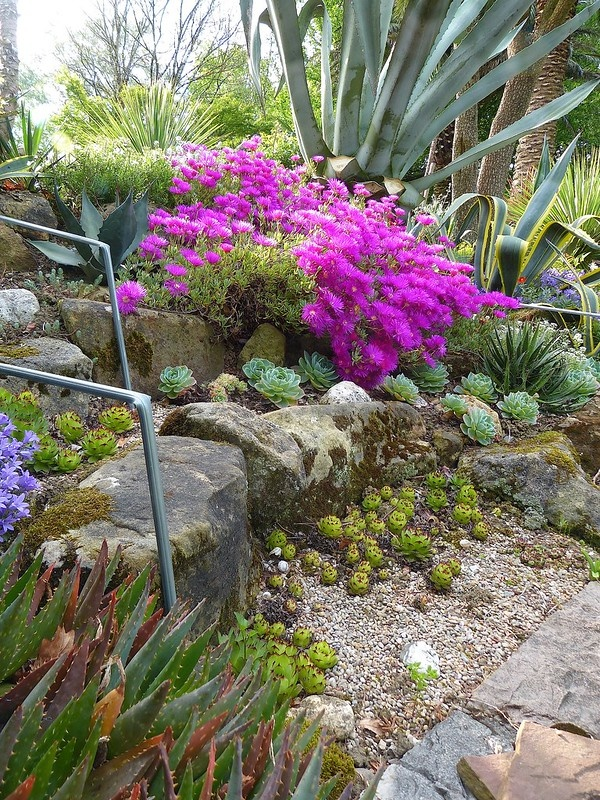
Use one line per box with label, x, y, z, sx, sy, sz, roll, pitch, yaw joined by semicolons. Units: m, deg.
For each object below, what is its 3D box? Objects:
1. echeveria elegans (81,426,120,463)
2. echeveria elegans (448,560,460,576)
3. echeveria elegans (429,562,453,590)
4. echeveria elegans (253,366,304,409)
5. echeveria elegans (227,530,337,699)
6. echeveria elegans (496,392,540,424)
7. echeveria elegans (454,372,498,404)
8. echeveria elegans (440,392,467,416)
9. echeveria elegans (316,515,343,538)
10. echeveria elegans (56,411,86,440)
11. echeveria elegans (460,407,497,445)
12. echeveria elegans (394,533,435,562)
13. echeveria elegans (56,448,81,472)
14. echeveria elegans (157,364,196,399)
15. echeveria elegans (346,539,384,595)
echeveria elegans;-0.675;0.151;2.171;0.104;0.075;0.106;3;7;5
echeveria elegans;0.552;0.600;2.258;0.044;0.050;0.059;-1;-4;-2
echeveria elegans;0.480;0.602;2.195;0.087;0.097;0.082;14;-10;-1
echeveria elegans;-0.081;-0.054;2.744;0.153;0.080;0.188;19;40;-17
echeveria elegans;-0.036;0.578;1.678;0.276;0.400;0.183;1;28;10
echeveria elegans;1.180;0.055;3.403;0.188;0.074;0.178;10;27;-8
echeveria elegans;0.979;-0.055;3.525;0.177;0.088;0.202;15;0;1
echeveria elegans;0.780;0.023;3.197;0.102;0.071;0.116;13;-16;6
echeveria elegans;0.115;0.446;2.298;0.082;0.083;0.083;7;7;42
echeveria elegans;-0.807;0.095;2.248;0.097;0.106;0.103;5;-13;6
echeveria elegans;0.857;0.126;3.121;0.078;0.186;0.160;-30;-37;30
echeveria elegans;0.411;0.525;2.274;0.121;0.084;0.122;2;6;-4
echeveria elegans;-0.738;0.201;2.062;0.065;0.076;0.075;1;-25;-4
echeveria elegans;-0.522;-0.068;2.676;0.156;0.135;0.141;-1;18;-5
echeveria elegans;0.222;0.570;2.161;0.094;0.166;0.071;17;-36;18
